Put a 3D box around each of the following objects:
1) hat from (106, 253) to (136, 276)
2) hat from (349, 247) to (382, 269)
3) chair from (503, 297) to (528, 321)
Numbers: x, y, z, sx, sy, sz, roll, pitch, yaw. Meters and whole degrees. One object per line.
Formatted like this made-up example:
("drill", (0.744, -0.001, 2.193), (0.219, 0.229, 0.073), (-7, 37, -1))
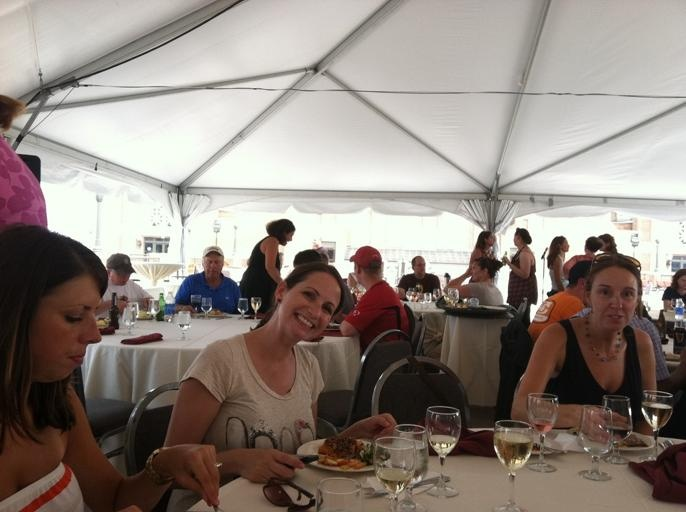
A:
("hat", (-1.892, 0.094, 4.205), (0.230, 0.145, 0.169), (10, 2, 24))
("hat", (0.173, 0.017, 3.792), (0.139, 0.120, 0.197), (1, 3, -20))
("chair", (1.915, 0.593, 5.379), (0.227, 0.358, 0.242), (0, -2, 15))
